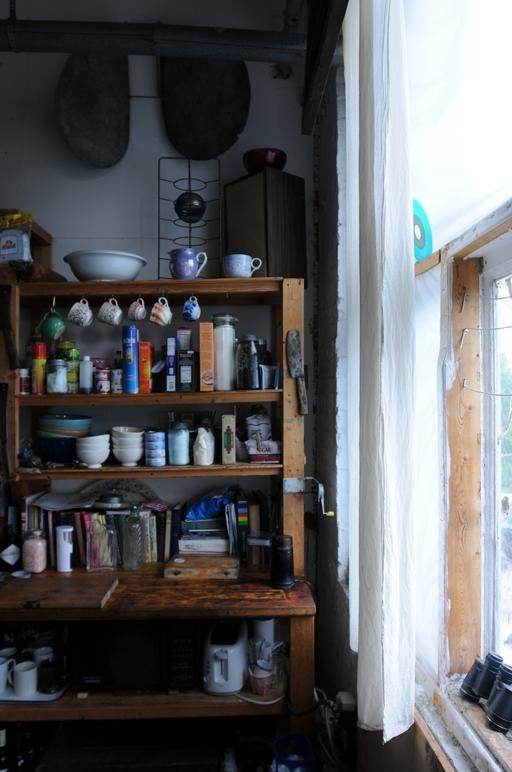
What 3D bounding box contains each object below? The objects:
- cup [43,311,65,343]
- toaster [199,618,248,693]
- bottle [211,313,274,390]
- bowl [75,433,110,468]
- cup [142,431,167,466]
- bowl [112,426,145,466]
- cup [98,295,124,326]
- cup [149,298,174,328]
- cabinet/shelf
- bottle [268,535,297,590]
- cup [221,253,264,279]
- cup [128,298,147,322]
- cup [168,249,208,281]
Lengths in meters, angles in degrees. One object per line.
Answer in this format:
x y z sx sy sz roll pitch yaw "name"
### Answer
-0.673 -0.197 2.256 0.060 0.085 0.080 37 34 19 "cup"
-0.078 0.813 2.011 0.111 0.182 0.228 1 -6 10 "toaster"
-0.060 -0.101 2.147 0.243 0.278 0.155 1 -4 -5 "bottle"
-0.523 0.206 2.145 0.096 0.102 0.095 1 -8 0 "bowl"
-0.324 0.209 2.218 0.087 0.150 0.097 -2 -4 18 "cup"
-0.414 0.195 2.168 0.105 0.129 0.114 -2 -11 0 "bowl"
-0.484 -0.241 2.230 0.074 0.105 0.078 15 14 -4 "cup"
-0.307 -0.240 2.215 0.063 0.108 0.107 1 -8 3 "cup"
-0.348 0.147 2.211 0.919 1.013 0.314 -1 -6 0 "cabinet/shelf"
0.084 0.537 2.062 0.080 0.153 0.080 0 -8 0 "bottle"
-0.040 -0.384 2.185 0.123 0.073 0.084 2 -7 -17 "cup"
-0.388 -0.251 2.213 0.052 0.089 0.055 -1 8 0 "cup"
-0.224 -0.393 2.211 0.129 0.107 0.104 3 4 5 "cup"
